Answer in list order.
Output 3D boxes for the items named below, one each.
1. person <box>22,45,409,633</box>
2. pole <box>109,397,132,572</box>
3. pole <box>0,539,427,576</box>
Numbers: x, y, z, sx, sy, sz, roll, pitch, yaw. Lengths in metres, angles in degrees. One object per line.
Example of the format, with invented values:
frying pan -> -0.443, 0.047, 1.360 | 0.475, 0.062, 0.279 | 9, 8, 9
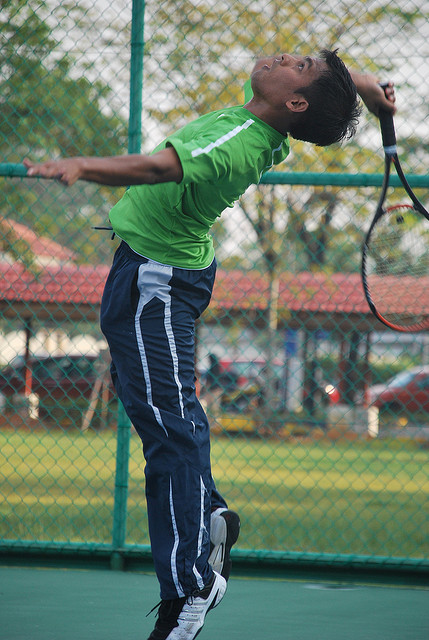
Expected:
person -> 0.035, 0.041, 2.528 | 0.894, 2.047, 1.316 | 1, 8, 4
pole -> -0.382, 0.646, 3.093 | 0.086, 0.699, 0.179 | 0, 8, -6
pole -> -0.040, 0.901, 2.914 | 1.629, 0.060, 0.089 | 1, -14, 0
